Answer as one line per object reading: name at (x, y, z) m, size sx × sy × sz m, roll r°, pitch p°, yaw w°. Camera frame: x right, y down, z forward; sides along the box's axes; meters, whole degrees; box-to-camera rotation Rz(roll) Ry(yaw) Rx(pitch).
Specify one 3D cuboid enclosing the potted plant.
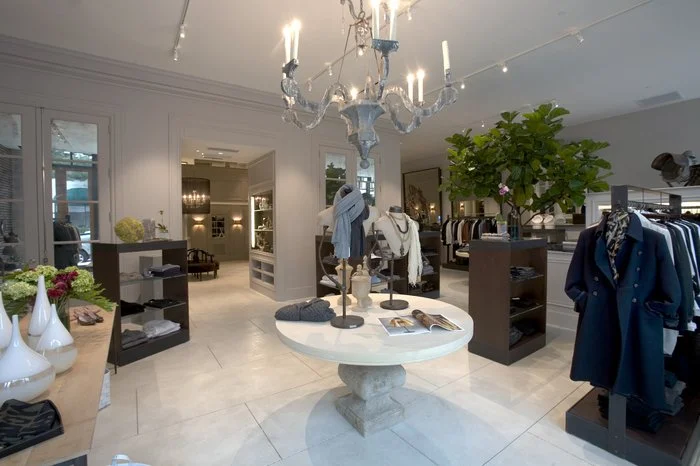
potted plant at (2.111, -0.737, 5.012) m, size 1.693 × 1.514 × 0.601 m, roll -1°, pitch 3°, yaw 29°

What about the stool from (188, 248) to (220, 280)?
stool at (-3.712, 0.778, 10.497) m, size 0.913 × 0.841 × 1.259 m, roll 0°, pitch -2°, yaw -36°

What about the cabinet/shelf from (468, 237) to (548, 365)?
cabinet/shelf at (1.955, 0.781, 5.161) m, size 0.951 × 1.459 × 0.531 m, roll -5°, pitch 3°, yaw -35°

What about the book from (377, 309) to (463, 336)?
book at (0.621, 0.790, 3.743) m, size 0.696 × 0.138 × 0.366 m, roll -3°, pitch 2°, yaw -3°

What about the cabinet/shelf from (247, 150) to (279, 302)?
cabinet/shelf at (-1.702, -0.160, 7.993) m, size 0.378 × 2.664 × 1.465 m, roll -4°, pitch 3°, yaw -22°

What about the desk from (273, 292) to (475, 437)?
desk at (0.267, 1.150, 3.635) m, size 1.404 × 0.707 × 1.383 m, roll -5°, pitch 8°, yaw -35°

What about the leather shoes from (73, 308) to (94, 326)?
leather shoes at (-2.713, 0.811, 4.210) m, size 0.161 × 0.137 × 0.512 m, roll 2°, pitch -1°, yaw -40°

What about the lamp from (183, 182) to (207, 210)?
lamp at (-4.324, -1.025, 11.698) m, size 0.763 × 0.832 × 0.750 m, roll 2°, pitch -2°, yaw -20°

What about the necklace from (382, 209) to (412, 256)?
necklace at (0.464, 0.007, 4.157) m, size 0.280 × 0.455 × 0.136 m, roll -3°, pitch 3°, yaw 2°
